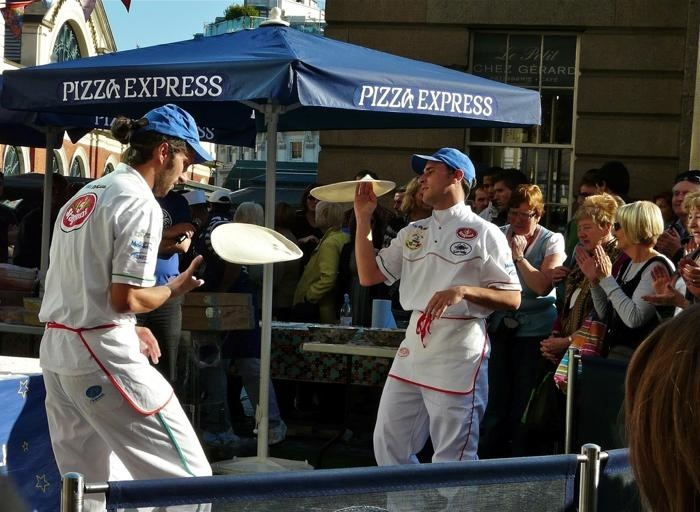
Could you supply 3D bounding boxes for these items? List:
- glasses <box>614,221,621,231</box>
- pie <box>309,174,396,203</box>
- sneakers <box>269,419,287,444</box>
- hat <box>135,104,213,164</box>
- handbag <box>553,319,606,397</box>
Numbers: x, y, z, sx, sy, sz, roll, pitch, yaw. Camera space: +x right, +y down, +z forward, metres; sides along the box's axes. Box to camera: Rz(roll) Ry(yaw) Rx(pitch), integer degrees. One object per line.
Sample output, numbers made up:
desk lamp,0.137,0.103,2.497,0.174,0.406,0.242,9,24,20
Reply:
glasses,2.008,-0.223,9.331,0.049,0.054,0.055,1,-9,13
pie,0.003,-0.507,9.625,0.531,0.260,0.317,-7,15,-33
sneakers,-0.653,1.572,11.126,0.146,0.181,0.068,6,4,8
hat,-1.120,-0.845,8.212,0.522,0.283,0.326,20,-11,-30
handbag,1.742,0.731,9.181,0.198,0.509,0.401,26,-9,-4
